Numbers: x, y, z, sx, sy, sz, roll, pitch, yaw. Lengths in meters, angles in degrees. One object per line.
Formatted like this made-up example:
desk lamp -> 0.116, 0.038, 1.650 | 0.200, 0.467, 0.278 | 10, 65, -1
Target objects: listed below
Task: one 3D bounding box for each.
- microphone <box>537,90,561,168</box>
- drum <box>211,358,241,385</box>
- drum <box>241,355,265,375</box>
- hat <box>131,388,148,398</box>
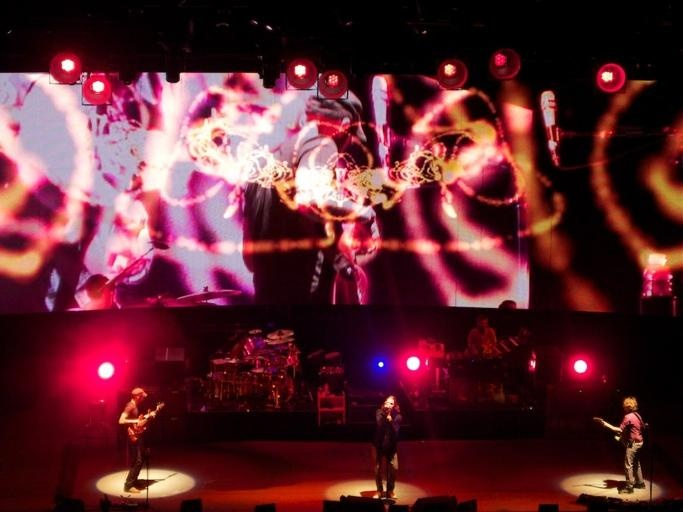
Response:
microphone -> 3.759, -2.302, 12.743 | 0.303, 1.282, 0.308 | -9, 10, -2
drum -> -2.037, 2.063, 12.560 | 0.419, 0.294, 0.418 | 1, -2, 0
drum -> -1.531, 1.963, 12.589 | 0.288, 0.312, 0.293 | 0, -2, 7
hat -> -3.073, 2.069, 10.788 | 0.283, 0.148, 0.367 | 0, 0, -16
